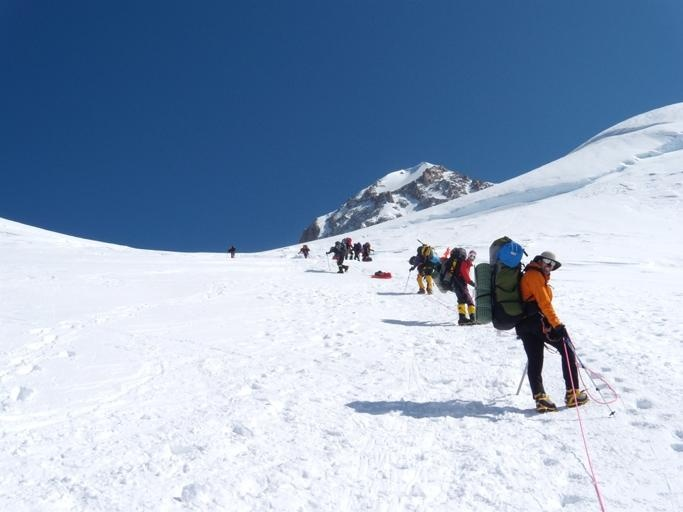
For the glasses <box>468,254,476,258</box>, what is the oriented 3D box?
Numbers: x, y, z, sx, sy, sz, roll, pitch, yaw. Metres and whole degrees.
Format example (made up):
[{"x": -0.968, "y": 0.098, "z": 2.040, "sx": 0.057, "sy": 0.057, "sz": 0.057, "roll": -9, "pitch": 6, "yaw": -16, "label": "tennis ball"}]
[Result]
[{"x": 3.740, "y": 0.008, "z": 15.070, "sx": 0.117, "sy": 0.146, "sz": 0.158, "roll": -22, "pitch": -10, "yaw": 38, "label": "glasses"}]

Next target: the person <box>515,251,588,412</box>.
[{"x": 3.680, "y": 1.322, "z": 9.421, "sx": 1.072, "sy": 2.789, "sz": 0.596, "roll": -3, "pitch": -1, "yaw": 20, "label": "person"}]

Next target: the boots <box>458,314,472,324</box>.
[{"x": 3.263, "y": 1.685, "z": 13.947, "sx": 0.338, "sy": 0.329, "sz": 0.172, "roll": -15, "pitch": 2, "yaw": -5, "label": "boots"}]

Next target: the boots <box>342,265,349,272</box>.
[{"x": 0.134, "y": 0.597, "z": 25.593, "sx": 0.270, "sy": 0.343, "sz": 0.865, "roll": 2, "pitch": 2, "yaw": -1, "label": "boots"}]

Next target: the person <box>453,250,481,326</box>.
[{"x": 3.261, "y": 0.896, "z": 14.192, "sx": 0.542, "sy": 1.767, "sz": 1.058, "roll": -2, "pitch": -1, "yaw": 11, "label": "person"}]

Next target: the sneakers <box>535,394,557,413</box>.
[{"x": 3.535, "y": 2.595, "z": 9.180, "sx": 0.197, "sy": 0.174, "sz": 0.415, "roll": -9, "pitch": -10, "yaw": 40, "label": "sneakers"}]

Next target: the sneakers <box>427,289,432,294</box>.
[{"x": 3.099, "y": 1.256, "z": 18.593, "sx": 0.197, "sy": 0.222, "sz": 0.129, "roll": -1, "pitch": 3, "yaw": 13, "label": "sneakers"}]
